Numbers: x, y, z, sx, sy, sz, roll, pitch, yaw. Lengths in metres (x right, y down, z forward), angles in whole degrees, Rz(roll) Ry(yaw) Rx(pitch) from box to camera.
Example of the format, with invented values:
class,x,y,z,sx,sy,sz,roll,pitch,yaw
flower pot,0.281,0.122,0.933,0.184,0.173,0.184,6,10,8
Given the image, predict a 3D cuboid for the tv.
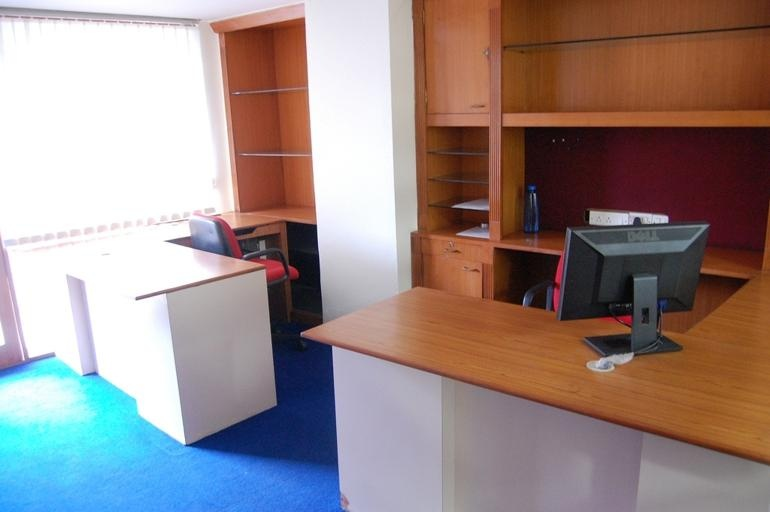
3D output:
class,x,y,z,sx,sy,sz,roll,pitch,yaw
tv,1.228,0.174,2.812,0.680,0.548,0.281,-4,15,-5
